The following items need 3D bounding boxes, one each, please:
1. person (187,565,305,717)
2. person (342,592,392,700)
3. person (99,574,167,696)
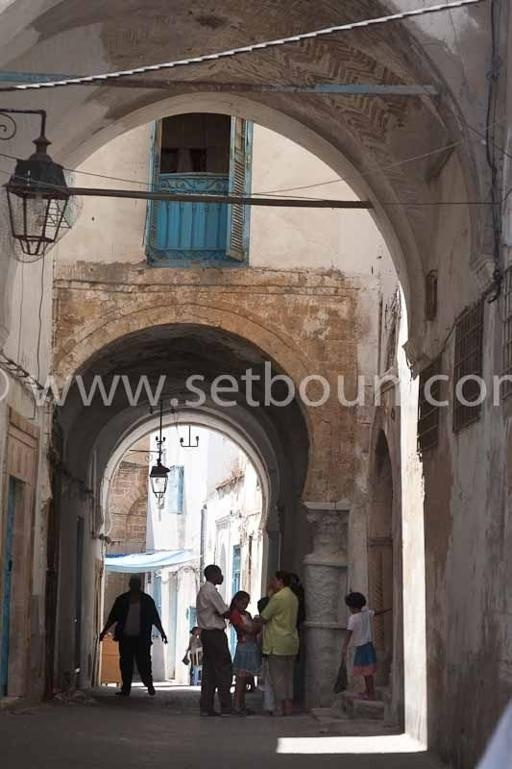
[{"bbox_3d":[-0.050,2.121,9.399,0.751,1.198,1.105,-1,-12,14],"label":"person"},{"bbox_3d":[0.912,2.147,9.446,0.339,0.886,1.208,0,-13,7],"label":"person"},{"bbox_3d":[-1.357,2.699,12.433,0.616,1.578,0.343,1,21,-4],"label":"person"}]
